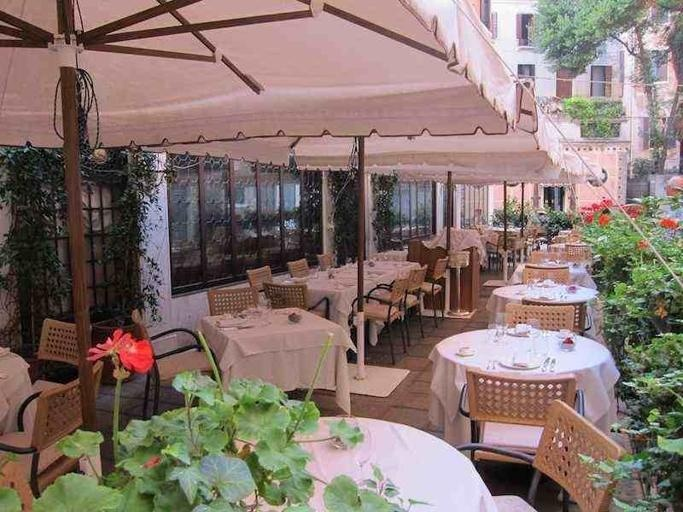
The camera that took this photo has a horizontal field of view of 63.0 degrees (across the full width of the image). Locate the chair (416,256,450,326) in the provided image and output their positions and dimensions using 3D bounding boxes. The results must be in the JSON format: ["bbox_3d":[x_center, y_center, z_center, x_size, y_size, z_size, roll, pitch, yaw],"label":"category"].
[{"bbox_3d":[1.310,0.491,8.829,0.594,1.047,0.616,10,4,15],"label":"chair"}]

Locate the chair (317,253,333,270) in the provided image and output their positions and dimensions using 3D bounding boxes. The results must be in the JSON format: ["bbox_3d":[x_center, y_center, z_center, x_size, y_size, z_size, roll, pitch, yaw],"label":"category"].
[{"bbox_3d":[-0.262,0.086,9.428,0.224,0.397,0.251,-6,11,-39],"label":"chair"}]

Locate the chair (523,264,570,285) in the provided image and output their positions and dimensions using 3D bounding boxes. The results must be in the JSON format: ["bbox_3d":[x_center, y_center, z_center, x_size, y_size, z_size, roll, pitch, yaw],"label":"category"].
[{"bbox_3d":[2.836,0.244,7.654,0.418,0.240,0.443,1,2,18],"label":"chair"}]

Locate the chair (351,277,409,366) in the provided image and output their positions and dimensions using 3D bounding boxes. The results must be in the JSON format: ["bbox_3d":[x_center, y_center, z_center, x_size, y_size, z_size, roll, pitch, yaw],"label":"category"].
[{"bbox_3d":[0.505,0.761,7.190,0.651,1.073,0.640,8,11,38],"label":"chair"}]

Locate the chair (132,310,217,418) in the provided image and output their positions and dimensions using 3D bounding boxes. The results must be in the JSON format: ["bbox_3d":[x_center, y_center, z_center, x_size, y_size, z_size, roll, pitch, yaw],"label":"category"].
[{"bbox_3d":[-1.510,0.999,5.135,0.647,0.964,0.660,-10,17,-38],"label":"chair"}]

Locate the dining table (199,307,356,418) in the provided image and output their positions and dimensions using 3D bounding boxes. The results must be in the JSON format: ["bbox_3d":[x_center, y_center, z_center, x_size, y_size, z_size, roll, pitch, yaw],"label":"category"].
[{"bbox_3d":[-0.455,1.302,5.343,1.382,0.743,1.389,-14,-31,5],"label":"dining table"}]

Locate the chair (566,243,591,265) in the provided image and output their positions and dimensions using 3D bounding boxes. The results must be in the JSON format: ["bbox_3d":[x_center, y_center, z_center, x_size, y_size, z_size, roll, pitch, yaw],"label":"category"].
[{"bbox_3d":[4.146,-0.035,9.680,0.389,0.317,0.416,0,3,8],"label":"chair"}]

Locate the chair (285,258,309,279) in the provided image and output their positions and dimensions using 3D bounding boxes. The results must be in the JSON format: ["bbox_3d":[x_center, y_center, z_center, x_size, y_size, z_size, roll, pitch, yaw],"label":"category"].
[{"bbox_3d":[-0.665,0.196,8.878,0.255,0.469,0.305,-8,9,-35],"label":"chair"}]

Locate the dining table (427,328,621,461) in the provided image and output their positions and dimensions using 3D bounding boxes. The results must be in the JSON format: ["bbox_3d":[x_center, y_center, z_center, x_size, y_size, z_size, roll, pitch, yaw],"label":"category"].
[{"bbox_3d":[1.308,0.808,4.151,0.953,0.564,1.094,-2,13,2],"label":"dining table"}]
